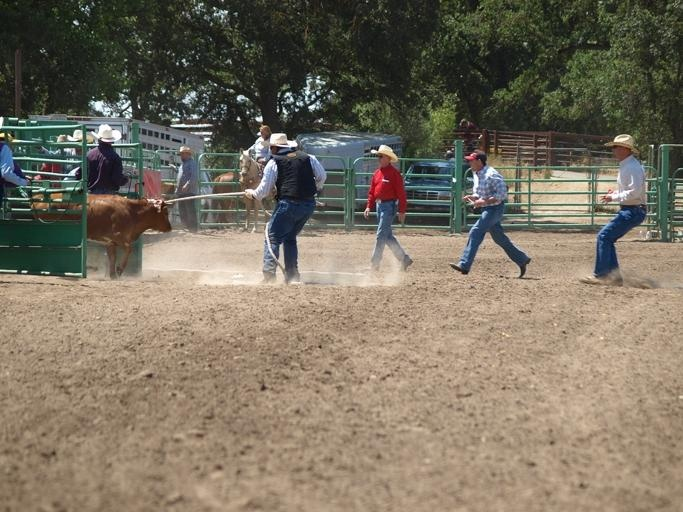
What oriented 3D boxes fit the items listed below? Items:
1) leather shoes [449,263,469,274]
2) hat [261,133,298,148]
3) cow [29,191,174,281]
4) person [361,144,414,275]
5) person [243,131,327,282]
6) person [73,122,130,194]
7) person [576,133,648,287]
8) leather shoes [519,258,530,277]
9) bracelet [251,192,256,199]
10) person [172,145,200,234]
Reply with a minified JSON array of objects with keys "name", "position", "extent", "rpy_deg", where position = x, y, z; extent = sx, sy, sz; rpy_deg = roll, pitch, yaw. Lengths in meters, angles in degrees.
[{"name":"leather shoes","position":[1.786,0.192,12.966],"extent":[0.213,0.081,0.094],"rpy_deg":[30,-1,13]},{"name":"hat","position":[-0.907,-1.613,11.950],"extent":[0.361,0.176,0.408],"rpy_deg":[-7,8,-29]},{"name":"cow","position":[-3.519,-0.310,12.913],"extent":[0.651,1.283,2.021],"rpy_deg":[7,10,43]},{"name":"person","position":[0.748,-0.734,13.599],"extent":[0.752,2.049,1.172],"rpy_deg":[0,7,2]},{"name":"person","position":[-0.756,-0.642,11.962],"extent":[0.916,2.122,0.860],"rpy_deg":[1,7,8]},{"name":"person","position":[-3.585,-1.458,12.963],"extent":[0.583,1.037,0.419],"rpy_deg":[-2,7,-16]},{"name":"person","position":[3.867,-0.635,11.973],"extent":[0.835,2.087,0.505],"rpy_deg":[-1,7,-8]},{"name":"leather shoes","position":[2.820,0.183,13.189],"extent":[0.101,0.287,0.090],"rpy_deg":[5,43,9]},{"name":"bracelet","position":[-1.237,-0.845,11.842],"extent":[0.080,0.096,0.021],"rpy_deg":[4,4,18]},{"name":"person","position":[-3.568,-1.534,19.630],"extent":[0.539,1.974,1.575],"rpy_deg":[-1,8,-11]}]
